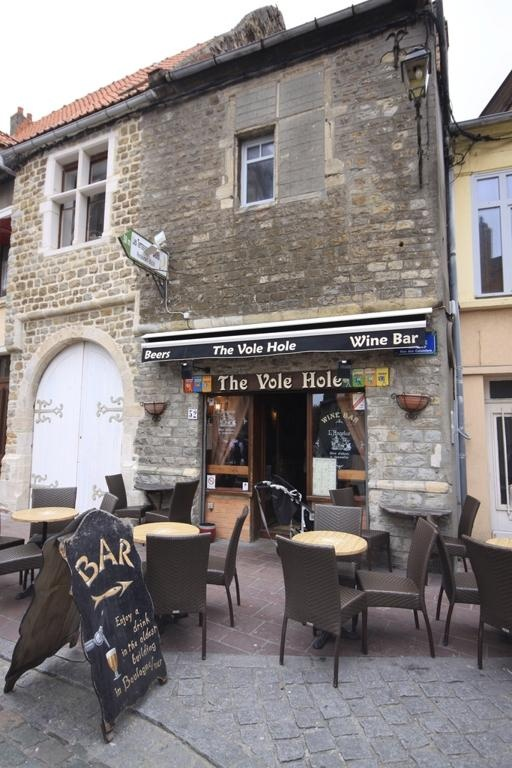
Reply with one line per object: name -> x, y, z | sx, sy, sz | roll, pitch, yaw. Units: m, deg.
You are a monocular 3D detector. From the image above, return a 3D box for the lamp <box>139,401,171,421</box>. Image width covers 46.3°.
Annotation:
lamp -> -1.445, 0.373, 8.311 | 0.436, 0.276, 0.198 | 1, 0, 27

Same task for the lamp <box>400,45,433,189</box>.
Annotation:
lamp -> 1.621, -2.751, 6.110 | 0.255, 1.079, 1.175 | 0, 0, 16

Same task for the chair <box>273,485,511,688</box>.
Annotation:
chair -> 1.011, 1.521, 4.520 | 1.540, 0.936, 1.279 | 1, 0, -5

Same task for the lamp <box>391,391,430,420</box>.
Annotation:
lamp -> 1.675, 0.213, 6.414 | 0.310, 0.234, 0.261 | -1, -13, 14

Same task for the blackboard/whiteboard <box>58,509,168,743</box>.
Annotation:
blackboard/whiteboard -> -0.874, 1.367, 3.625 | 0.394, 1.319, 0.739 | 0, 0, 22
